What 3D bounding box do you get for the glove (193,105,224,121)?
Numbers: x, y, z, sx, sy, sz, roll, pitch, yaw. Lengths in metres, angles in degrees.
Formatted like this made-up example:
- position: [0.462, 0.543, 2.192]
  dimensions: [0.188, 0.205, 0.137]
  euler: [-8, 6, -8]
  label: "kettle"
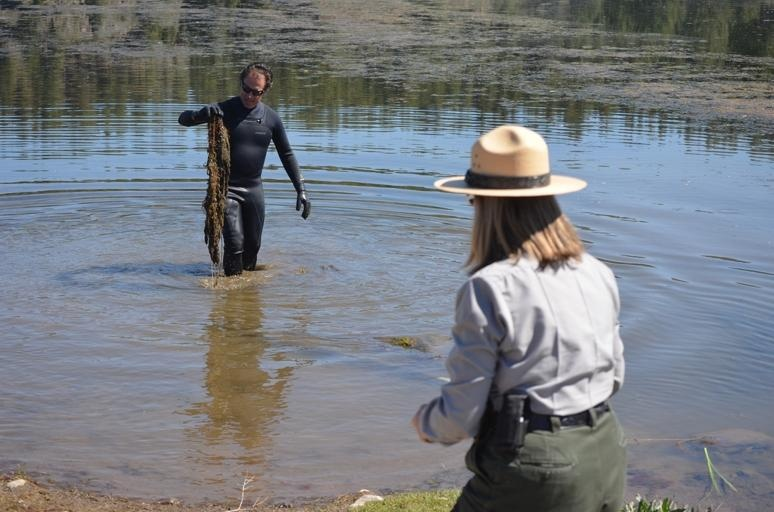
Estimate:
- position: [-3.236, -2.571, 22.698]
  dimensions: [0.490, 0.301, 0.221]
  euler: [-2, 11, -14]
  label: "glove"
